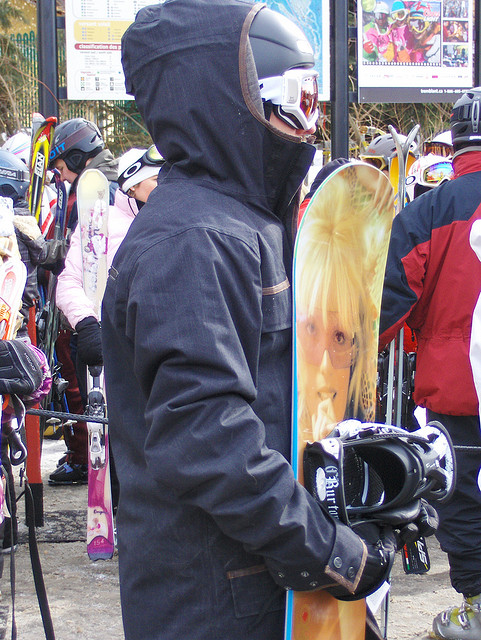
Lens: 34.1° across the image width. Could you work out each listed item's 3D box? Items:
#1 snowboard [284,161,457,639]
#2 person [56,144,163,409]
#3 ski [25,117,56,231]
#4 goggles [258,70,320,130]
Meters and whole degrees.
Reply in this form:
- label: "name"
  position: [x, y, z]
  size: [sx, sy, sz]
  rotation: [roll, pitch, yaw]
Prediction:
- label: "snowboard"
  position: [0.208, -0.009, 1.438]
  size: [0.276, 1.107, 0.195]
  rotation: [6, -6, -38]
- label: "person"
  position: [-0.612, -0.334, 3.968]
  size: [0.469, 1.846, 0.309]
  rotation: [1, -1, 35]
- label: "ski"
  position: [-1.153, -0.892, 4.533]
  size: [0.108, 0.835, 0.110]
  rotation: [7, 2, -43]
- label: "goggles"
  position: [0.081, -0.426, 1.482]
  size: [0.141, 0.112, 0.112]
  rotation: [19, 26, 32]
